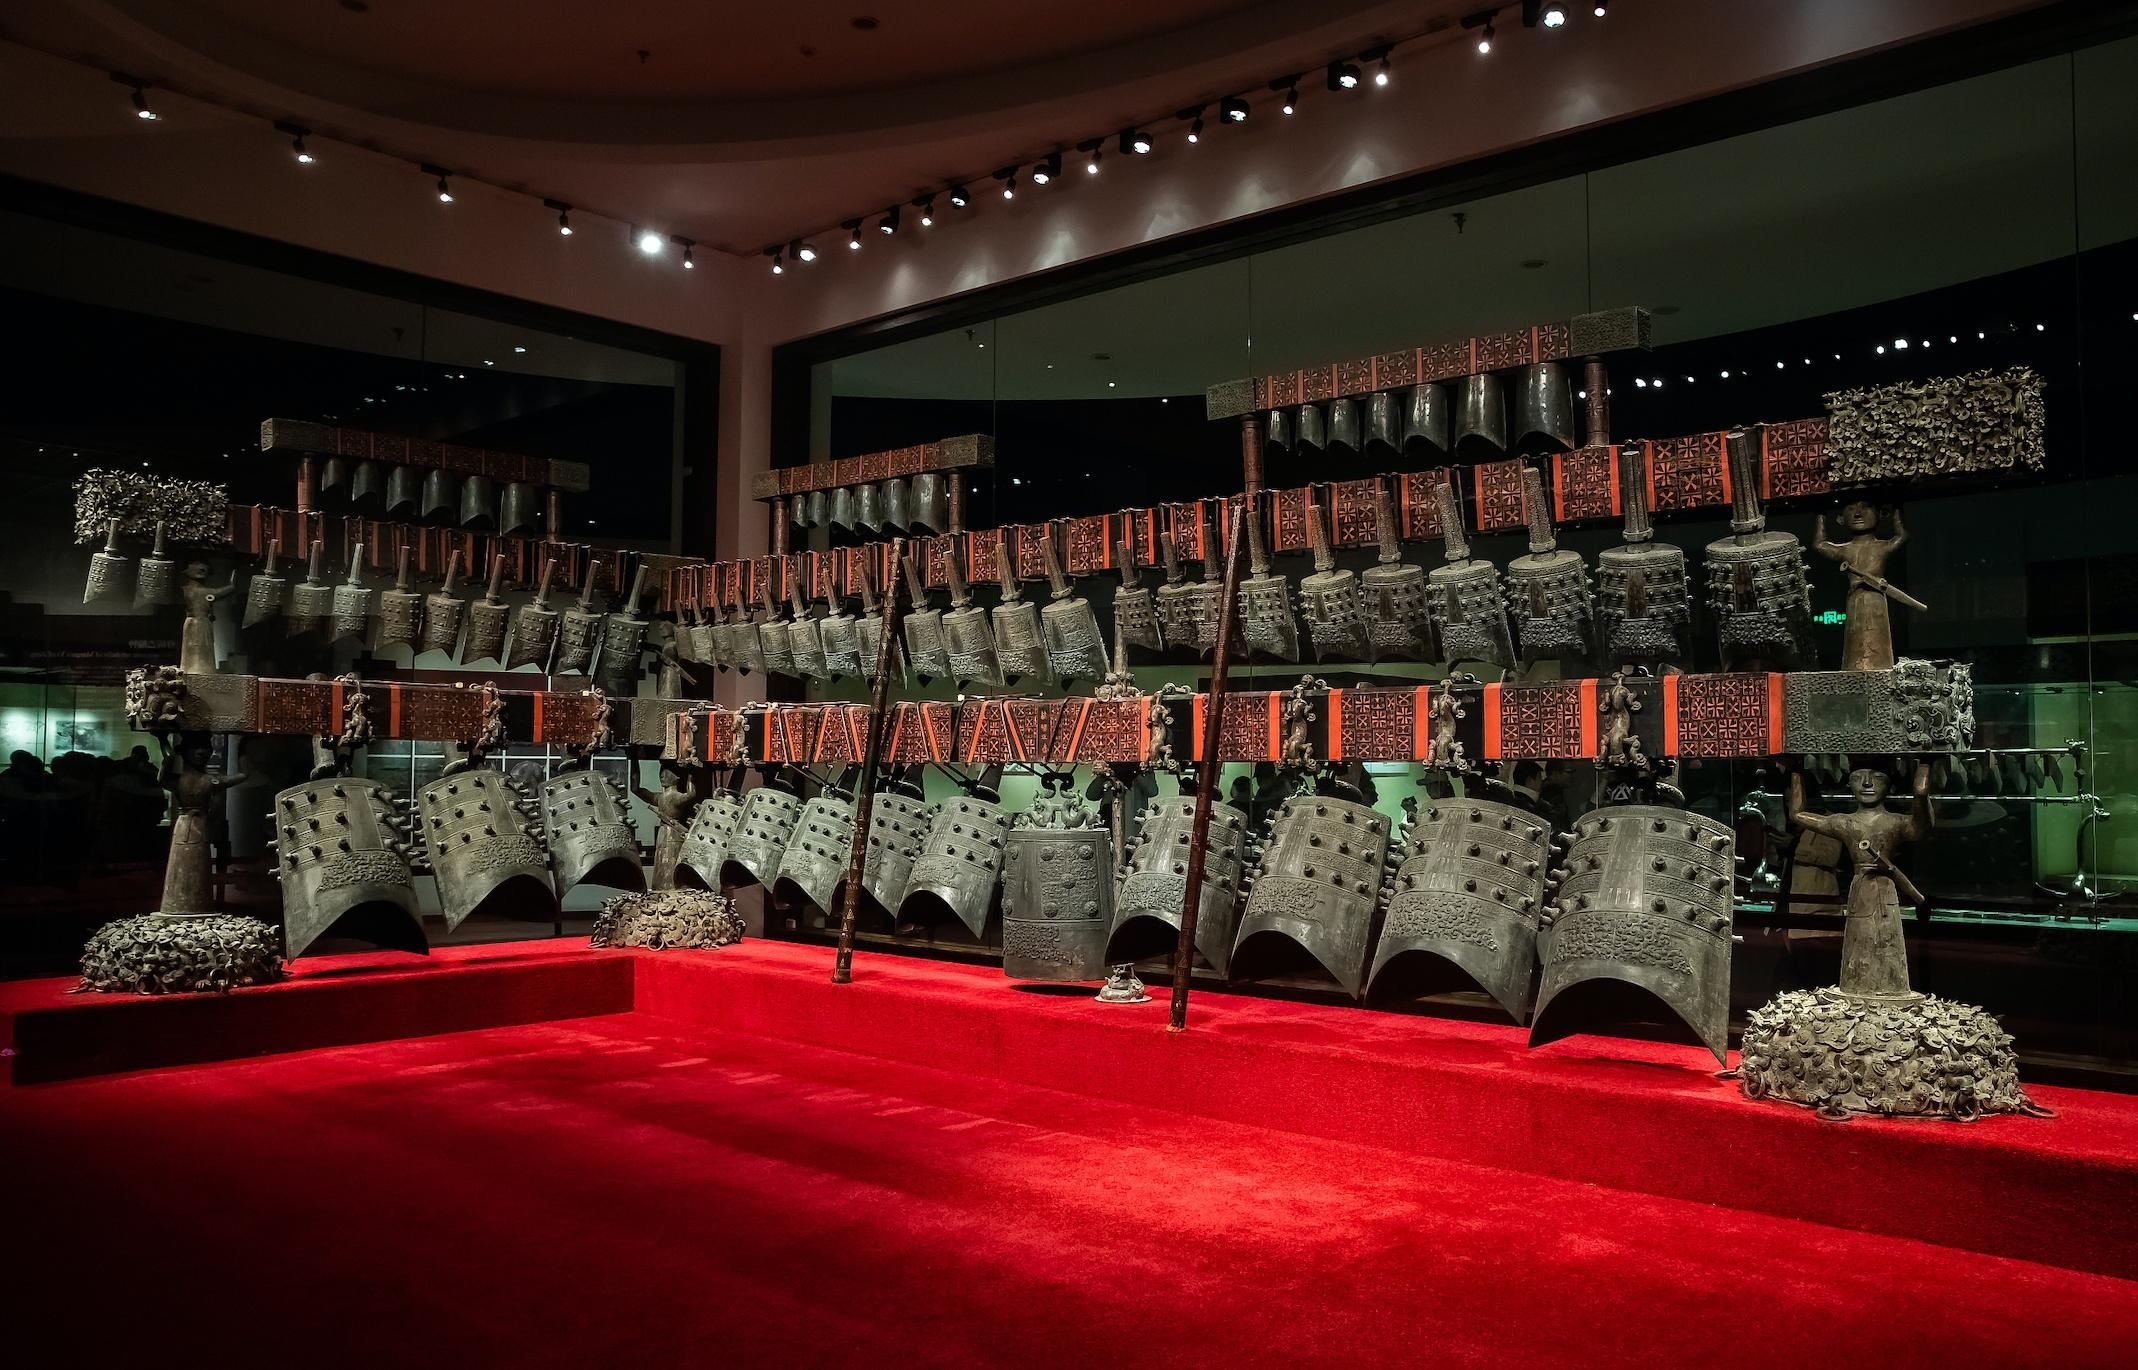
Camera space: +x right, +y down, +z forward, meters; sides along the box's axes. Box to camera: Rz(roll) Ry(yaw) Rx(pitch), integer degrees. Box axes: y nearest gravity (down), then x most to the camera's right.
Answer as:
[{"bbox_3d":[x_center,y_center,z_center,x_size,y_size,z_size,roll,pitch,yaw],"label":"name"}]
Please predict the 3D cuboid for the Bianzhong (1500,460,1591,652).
[{"bbox_3d":[2.000,-0.490,5.797,0.329,0.797,0.212,3,9,27],"label":"Bianzhong"}]

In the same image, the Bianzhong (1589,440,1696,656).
[{"bbox_3d":[2.314,-0.507,5.651,0.334,0.902,0.232,2,9,19],"label":"Bianzhong"}]

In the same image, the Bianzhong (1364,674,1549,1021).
[{"bbox_3d":[1.446,0.873,5.224,0.675,0.850,0.521,8,-41,18],"label":"Bianzhong"}]

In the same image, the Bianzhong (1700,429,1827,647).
[{"bbox_3d":[2.684,-0.491,5.479,0.331,0.820,0.316,-16,19,11],"label":"Bianzhong"}]

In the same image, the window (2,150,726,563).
[{"bbox_3d":[-4.171,-1.905,7.990,2.655,1.283,0.242,14,-34,-25],"label":"window"}]

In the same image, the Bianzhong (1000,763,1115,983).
[{"bbox_3d":[-0.047,0.923,5.978,0.462,0.619,0.306,0,8,2],"label":"Bianzhong"}]

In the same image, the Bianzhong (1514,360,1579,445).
[{"bbox_3d":[2.087,-1.213,6.144,0.232,0.358,0.250,1,9,14],"label":"Bianzhong"}]

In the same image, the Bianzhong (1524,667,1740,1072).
[{"bbox_3d":[1.948,0.853,4.825,0.604,0.793,0.546,3,9,25],"label":"Bianzhong"}]

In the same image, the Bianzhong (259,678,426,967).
[{"bbox_3d":[-3.564,0.677,6.805,0.689,1.441,0.654,-18,-37,-19],"label":"Bianzhong"}]

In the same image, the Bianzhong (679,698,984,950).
[{"bbox_3d":[-1.244,0.690,7.298,1.457,0.949,0.588,4,-17,40],"label":"Bianzhong"}]

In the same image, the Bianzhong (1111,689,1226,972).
[{"bbox_3d":[0.514,0.647,5.881,0.473,1.094,0.627,7,11,41],"label":"Bianzhong"}]

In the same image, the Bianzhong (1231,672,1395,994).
[{"bbox_3d":[1.035,0.720,5.627,0.636,1.322,0.578,7,-41,11],"label":"Bianzhong"}]

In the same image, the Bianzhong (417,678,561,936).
[{"bbox_3d":[-2.807,0.825,6.786,0.567,0.774,0.561,-5,9,-29],"label":"Bianzhong"}]
